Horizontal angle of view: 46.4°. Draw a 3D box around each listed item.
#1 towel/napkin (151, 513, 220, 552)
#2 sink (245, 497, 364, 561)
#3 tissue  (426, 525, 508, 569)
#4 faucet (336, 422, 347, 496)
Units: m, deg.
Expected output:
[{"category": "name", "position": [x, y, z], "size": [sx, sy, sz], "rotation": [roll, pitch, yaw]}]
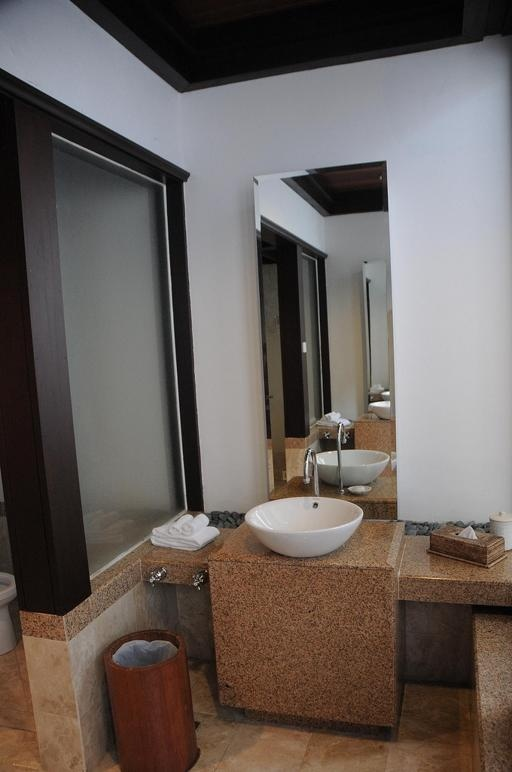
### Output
[{"category": "towel/napkin", "position": [-0.276, 0.571, 2.320], "size": [0.148, 0.071, 0.166], "rotation": [-3, 4, 18]}, {"category": "sink", "position": [0.158, 0.482, 2.007], "size": [0.381, 0.139, 0.440], "rotation": [-6, 5, -2]}, {"category": "tissue ", "position": [0.727, 0.530, 2.041], "size": [0.179, 0.092, 0.232], "rotation": [-9, 6, -40]}, {"category": "faucet", "position": [0.349, 0.296, 2.452], "size": [0.026, 0.309, 0.101], "rotation": [3, 23, 22]}]
